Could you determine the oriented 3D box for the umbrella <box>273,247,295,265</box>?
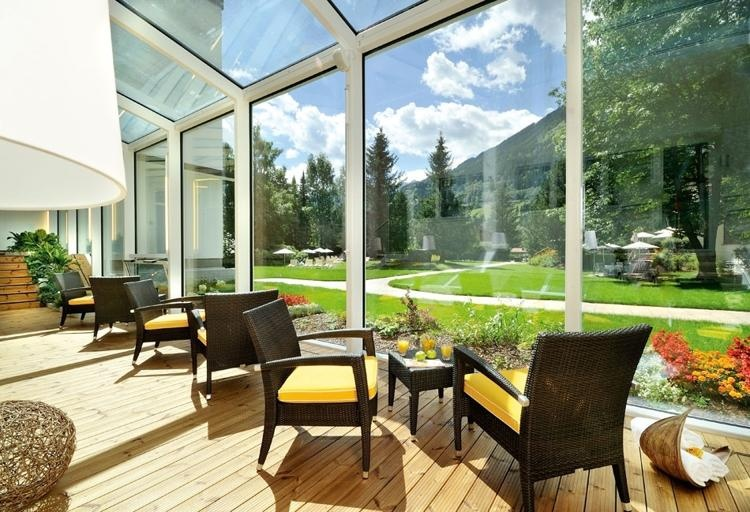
[{"bbox_3d":[-1.201,-0.008,6.482,0.229,0.163,0.214,0,4,-13],"label":"umbrella"}]

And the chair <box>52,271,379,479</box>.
[{"bbox_3d":[-0.992,1.068,4.730,1.002,1.559,2.529,-6,1,-39],"label":"chair"}]

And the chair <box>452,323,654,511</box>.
[{"bbox_3d":[1.473,1.189,4.172,1.261,1.573,1.505,1,-2,-19],"label":"chair"}]

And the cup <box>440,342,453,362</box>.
[{"bbox_3d":[0.679,0.895,4.617,0.122,0.143,0.127,1,1,0],"label":"cup"}]

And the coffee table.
[{"bbox_3d":[0.480,1.253,4.672,0.670,0.654,0.644,-1,2,-32],"label":"coffee table"}]

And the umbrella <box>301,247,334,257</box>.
[{"bbox_3d":[-0.725,-0.057,6.163,0.507,0.105,0.035,-5,1,38],"label":"umbrella"}]
